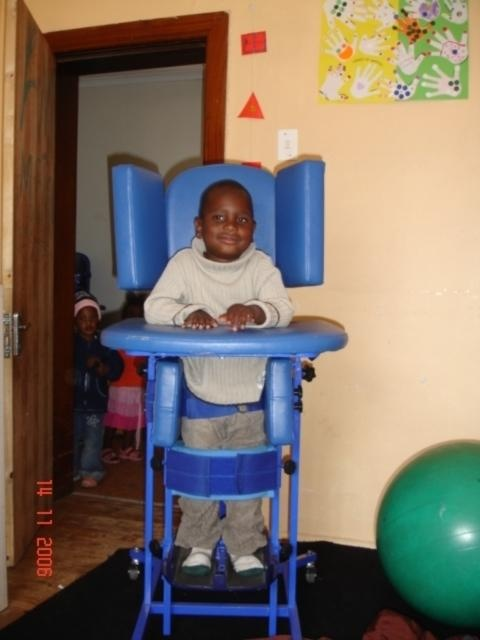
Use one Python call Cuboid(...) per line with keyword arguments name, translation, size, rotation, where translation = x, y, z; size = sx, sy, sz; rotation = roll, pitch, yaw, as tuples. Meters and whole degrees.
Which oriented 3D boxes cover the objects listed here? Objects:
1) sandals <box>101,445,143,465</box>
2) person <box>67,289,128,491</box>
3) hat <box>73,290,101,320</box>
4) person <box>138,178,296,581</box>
Cuboid(name="sandals", translation=(-0.590, 0.679, 3.048), size=(0.126, 0.055, 0.082), rotation=(-1, -2, -20))
Cuboid(name="person", translation=(-0.669, 0.300, 2.796), size=(0.229, 0.795, 0.361), rotation=(2, 0, -5))
Cuboid(name="hat", translation=(-0.730, -0.084, 2.920), size=(0.091, 0.123, 0.143), rotation=(0, -33, -15))
Cuboid(name="person", translation=(-0.043, 0.129, 1.498), size=(0.342, 0.934, 0.295), rotation=(2, 1, -45))
